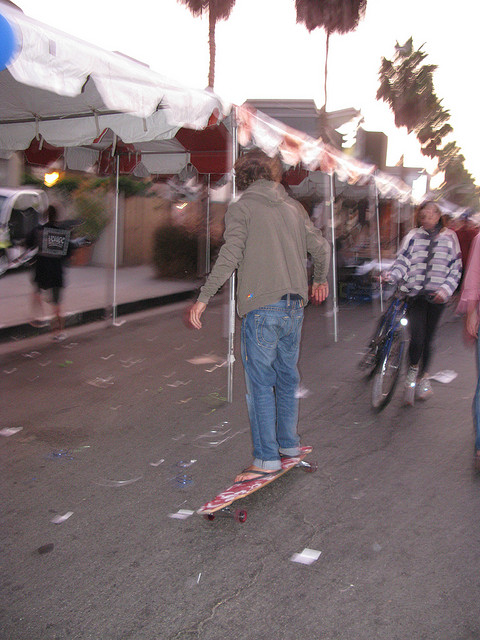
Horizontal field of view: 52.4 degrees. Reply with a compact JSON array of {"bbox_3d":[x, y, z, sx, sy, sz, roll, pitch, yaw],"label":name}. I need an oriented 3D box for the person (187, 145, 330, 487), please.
[{"bbox_3d":[0.156,-0.057,3.216,0.474,2.114,1.007,6,8,41],"label":"person"}]

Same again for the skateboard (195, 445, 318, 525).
[{"bbox_3d":[0.188,1.012,3.100,0.261,0.156,1.147,-6,5,44],"label":"skateboard"}]

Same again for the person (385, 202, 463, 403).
[{"bbox_3d":[1.834,-0.154,4.931,0.675,2.051,0.525,3,7,23],"label":"person"}]

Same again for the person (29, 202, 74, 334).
[{"bbox_3d":[-2.952,-0.804,7.560,0.639,2.030,0.893,-2,7,-26],"label":"person"}]
